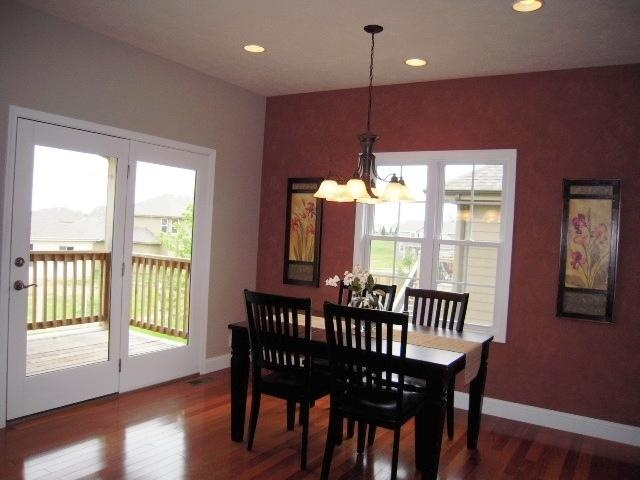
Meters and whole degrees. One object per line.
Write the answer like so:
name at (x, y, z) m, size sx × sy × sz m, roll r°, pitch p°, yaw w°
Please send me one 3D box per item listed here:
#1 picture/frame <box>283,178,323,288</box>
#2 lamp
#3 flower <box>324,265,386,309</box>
picture/frame at (-0.198, -0.096, 5.675) m, size 0.533 × 1.256 × 0.129 m, roll 7°, pitch 8°, yaw 30°
lamp at (0.429, -1.047, 4.529) m, size 0.885 × 1.512 × 2.142 m, roll 3°, pitch 7°, yaw 0°
flower at (0.321, 0.391, 4.091) m, size 0.453 × 0.336 × 0.422 m, roll -1°, pitch -14°, yaw 16°
